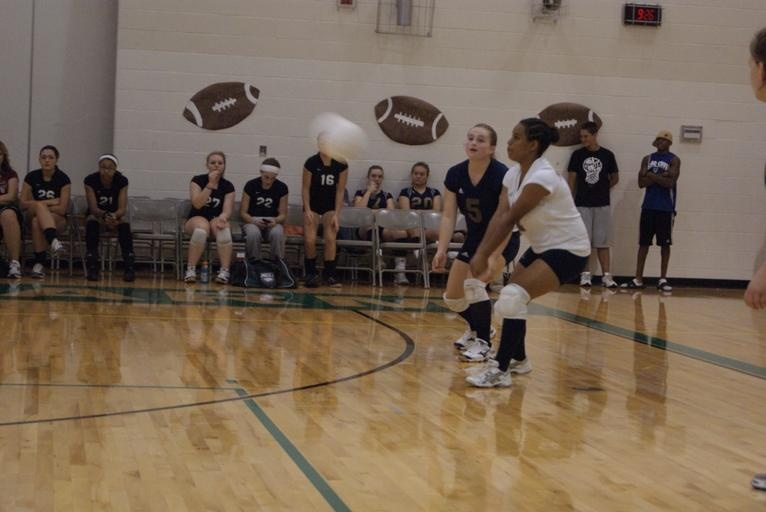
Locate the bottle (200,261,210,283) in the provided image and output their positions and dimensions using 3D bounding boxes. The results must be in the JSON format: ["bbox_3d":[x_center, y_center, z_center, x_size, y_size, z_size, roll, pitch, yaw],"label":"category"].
[{"bbox_3d":[-2.295,0.196,9.225,0.099,0.271,0.450,0,9,-17],"label":"bottle"}]

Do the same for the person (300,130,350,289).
[{"bbox_3d":[-0.766,-0.587,9.419,0.624,1.819,0.535,-1,-11,-3],"label":"person"}]

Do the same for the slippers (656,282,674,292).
[{"bbox_3d":[4.242,0.458,10.765,0.123,0.119,0.294,-1,0,-2],"label":"slippers"}]

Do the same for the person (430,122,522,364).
[{"bbox_3d":[0.725,-0.107,5.898,0.763,1.856,0.870,1,2,-9],"label":"person"}]

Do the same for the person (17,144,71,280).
[{"bbox_3d":[-4.298,-0.684,9.109,0.647,1.981,0.607,0,-4,-30],"label":"person"}]

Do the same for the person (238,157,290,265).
[{"bbox_3d":[-1.634,-0.641,9.845,0.654,1.472,0.574,-1,-7,-4],"label":"person"}]

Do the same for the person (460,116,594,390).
[{"bbox_3d":[1.044,-0.036,5.238,0.876,1.918,0.523,1,8,-10],"label":"person"}]

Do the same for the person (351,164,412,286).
[{"bbox_3d":[-0.041,-0.431,10.644,0.837,1.792,0.769,0,-11,0],"label":"person"}]

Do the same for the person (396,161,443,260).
[{"bbox_3d":[0.539,-0.699,10.665,0.539,1.346,0.428,1,2,4],"label":"person"}]

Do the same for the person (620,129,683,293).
[{"bbox_3d":[4.146,-0.702,11.007,0.815,2.502,0.616,0,-10,32],"label":"person"}]
